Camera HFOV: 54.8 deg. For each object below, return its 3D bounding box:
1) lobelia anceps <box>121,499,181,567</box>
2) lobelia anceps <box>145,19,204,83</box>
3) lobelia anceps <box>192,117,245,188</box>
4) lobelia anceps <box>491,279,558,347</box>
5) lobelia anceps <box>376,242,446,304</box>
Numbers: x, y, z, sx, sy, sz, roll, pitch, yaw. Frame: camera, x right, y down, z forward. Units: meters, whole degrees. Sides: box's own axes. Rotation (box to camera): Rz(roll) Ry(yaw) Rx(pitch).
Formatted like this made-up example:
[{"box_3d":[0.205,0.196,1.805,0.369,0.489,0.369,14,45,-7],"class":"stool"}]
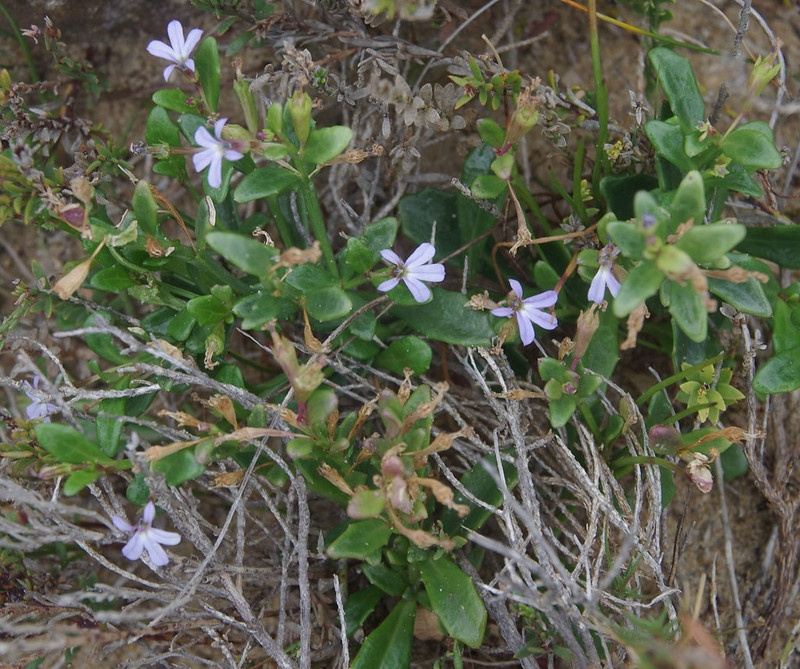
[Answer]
[{"box_3d":[-0.769,0.632,2.376,0.205,0.172,0.160,-13,60,-8],"class":"lobelia anceps"},{"box_3d":[-0.736,-0.947,2.596,0.096,0.220,0.247,57,30,-1],"class":"lobelia anceps"},{"box_3d":[-0.551,-0.540,2.301,0.179,0.217,0.071,21,17,36],"class":"lobelia anceps"},{"box_3d":[0.379,-0.080,2.525,0.179,0.092,0.236,0,33,45],"class":"lobelia anceps"},{"box_3d":[-0.004,-0.231,2.543,0.207,0.254,0.104,-20,92,-23],"class":"lobelia anceps"}]
